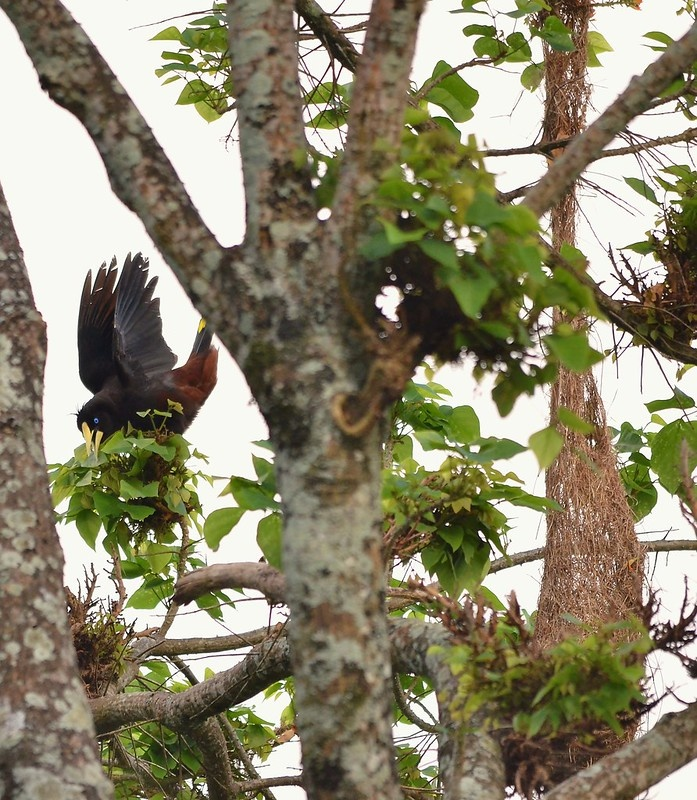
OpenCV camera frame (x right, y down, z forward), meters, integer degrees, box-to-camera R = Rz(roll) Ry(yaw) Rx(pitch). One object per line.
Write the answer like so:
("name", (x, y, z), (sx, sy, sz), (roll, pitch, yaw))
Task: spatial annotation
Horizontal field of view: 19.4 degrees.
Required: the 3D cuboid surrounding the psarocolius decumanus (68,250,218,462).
("psarocolius decumanus", (-0.565, -0.082, 5.556), (0.313, 0.443, 0.518), (26, -28, 16))
